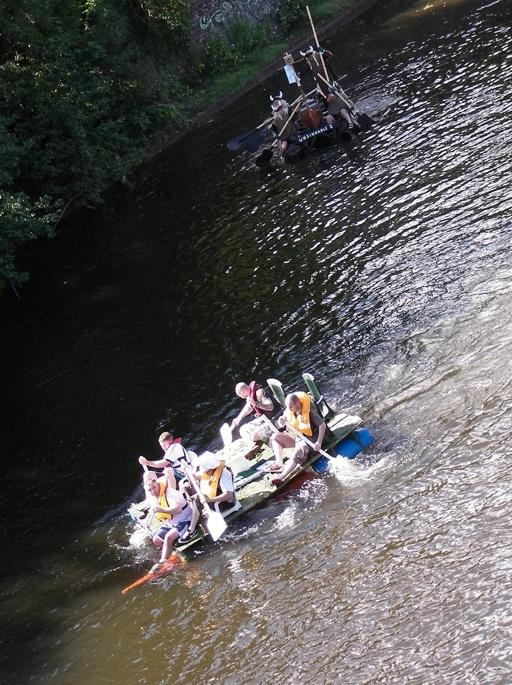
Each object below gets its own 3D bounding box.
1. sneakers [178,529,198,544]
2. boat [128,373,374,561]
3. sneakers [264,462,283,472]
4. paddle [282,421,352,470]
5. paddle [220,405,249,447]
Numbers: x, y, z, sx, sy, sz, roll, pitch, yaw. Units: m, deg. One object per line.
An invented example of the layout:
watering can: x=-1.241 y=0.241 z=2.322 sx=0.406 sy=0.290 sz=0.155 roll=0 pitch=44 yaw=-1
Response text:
sneakers: x=-1.138 y=3.287 z=15.180 sx=0.333 sy=0.137 sz=0.152 roll=-30 pitch=30 yaw=-27
boat: x=-0.154 y=2.230 z=15.710 sx=4.080 sy=1.363 sz=2.975 roll=-30 pitch=24 yaw=-3
sneakers: x=0.331 y=2.158 z=15.606 sx=0.311 sy=0.114 sz=0.153 roll=-9 pitch=28 yaw=40
paddle: x=1.108 y=1.752 z=15.265 sx=1.439 sy=0.201 sz=0.191 roll=36 pitch=107 yaw=36
paddle: x=-0.447 y=1.553 z=16.984 sx=0.177 sy=0.460 sz=0.951 roll=32 pitch=66 yaw=27
